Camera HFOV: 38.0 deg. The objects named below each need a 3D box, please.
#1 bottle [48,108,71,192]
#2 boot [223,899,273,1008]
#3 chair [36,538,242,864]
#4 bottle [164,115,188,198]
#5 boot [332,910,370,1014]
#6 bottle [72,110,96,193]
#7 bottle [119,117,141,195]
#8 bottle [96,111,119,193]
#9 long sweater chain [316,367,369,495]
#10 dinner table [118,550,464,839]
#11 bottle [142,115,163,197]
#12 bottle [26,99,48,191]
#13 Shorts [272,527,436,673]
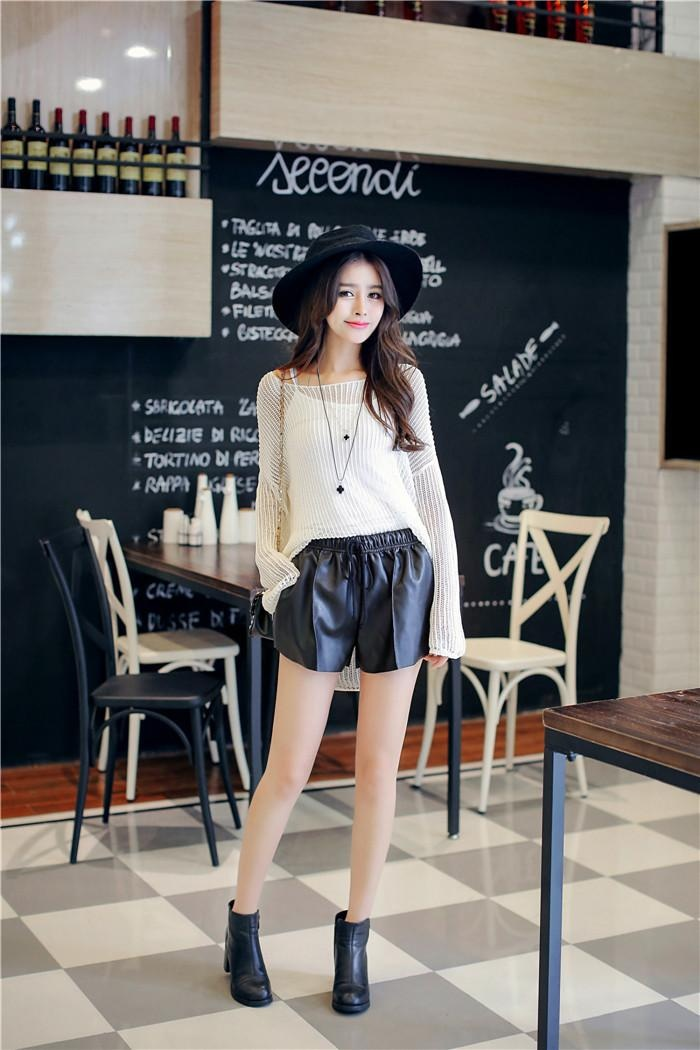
[{"bbox_3d":[-0.928,-1.188,3.242,0.073,0.296,0.178,0,2,-16],"label":"bottle"},{"bbox_3d":[-0.195,0.814,1.907,0.075,0.142,0.193,1,2,-18],"label":"boot"},{"bbox_3d":[-0.616,0.443,3.054,0.590,0.871,1.084,0,2,-17],"label":"chair"},{"bbox_3d":[-0.578,-1.221,3.386,0.073,0.294,0.154,0,2,-11],"label":"bottle"},{"bbox_3d":[0.005,0.821,1.912,0.064,0.136,0.178,1,-4,1],"label":"boot"},{"bbox_3d":[-0.855,-1.190,3.258,0.071,0.290,0.148,0,2,-15],"label":"bottle"},{"bbox_3d":[-0.721,-1.200,3.315,0.084,0.245,0.085,3,16,-1],"label":"bottle"},{"bbox_3d":[-0.788,-1.196,3.293,0.066,0.301,0.185,0,2,-14],"label":"bottle"},{"bbox_3d":[-0.031,-0.162,1.843,0.072,0.220,0.124,-1,2,-45],"label":"long sweater chain"},{"bbox_3d":[-0.261,0.512,2.928,0.967,0.738,0.691,-13,18,-6],"label":"dinner table"},{"bbox_3d":[-0.648,-1.205,3.356,0.071,0.259,0.159,0,2,-12],"label":"bottle"},{"bbox_3d":[-0.987,-1.187,3.202,0.066,0.299,0.131,0,2,-19],"label":"bottle"},{"bbox_3d":[0.023,0.150,1.856,0.272,0.275,0.167,-3,-8,12],"label":"Shorts"}]
